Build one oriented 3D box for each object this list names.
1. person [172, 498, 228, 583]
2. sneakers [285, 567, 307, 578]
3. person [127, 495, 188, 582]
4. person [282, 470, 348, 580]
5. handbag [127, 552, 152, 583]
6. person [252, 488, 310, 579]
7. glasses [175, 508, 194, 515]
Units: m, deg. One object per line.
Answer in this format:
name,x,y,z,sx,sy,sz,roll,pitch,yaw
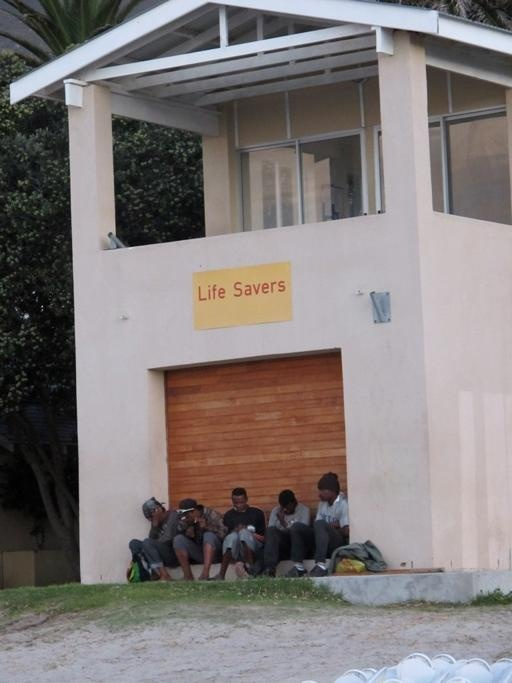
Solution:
person,-0.589,2.155,15.318,0.486,0.948,0.704,-7,-26,6
sneakers,0.425,2.333,14.341,0.101,0.103,0.195,2,-1,-15
person,-1.045,2.189,15.616,0.497,0.920,0.548,-9,-9,30
person,0.644,1.889,14.624,0.538,0.917,1.027,-3,2,16
handbag,-1.289,2.479,15.479,0.211,0.196,0.369,-5,3,-39
person,0.287,2.050,14.880,0.313,0.560,0.791,-15,35,15
glasses,-0.768,1.830,15.302,0.211,0.077,0.107,-2,3,41
